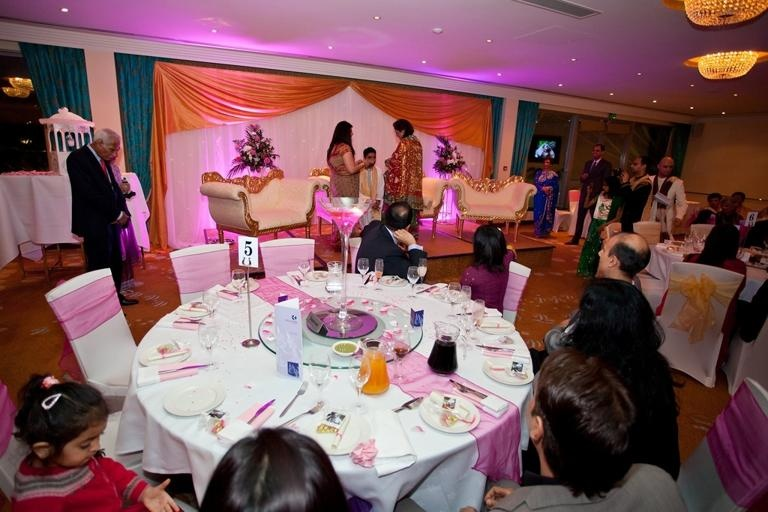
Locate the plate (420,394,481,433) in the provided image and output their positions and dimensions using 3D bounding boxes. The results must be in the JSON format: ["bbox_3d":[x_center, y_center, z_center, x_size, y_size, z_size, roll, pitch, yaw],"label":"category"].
[{"bbox_3d":[0.364,0.893,2.753,0.208,0.038,0.220,11,31,21],"label":"plate"}]

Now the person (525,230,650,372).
[{"bbox_3d":[1.640,0.356,4.028,0.530,1.485,0.839,-17,36,-14],"label":"person"}]

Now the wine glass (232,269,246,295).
[{"bbox_3d":[-1.071,0.203,3.640,0.096,0.253,0.110,-7,16,-27],"label":"wine glass"}]

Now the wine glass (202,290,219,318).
[{"bbox_3d":[-1.167,0.336,3.322,0.103,0.269,0.111,-2,13,-14],"label":"wine glass"}]

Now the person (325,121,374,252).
[{"bbox_3d":[-0.432,-0.964,6.476,0.531,1.549,0.517,-9,17,-28],"label":"person"}]

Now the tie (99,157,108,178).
[{"bbox_3d":[-2.783,-0.882,4.898,0.030,0.033,0.273,-3,53,-45],"label":"tie"}]

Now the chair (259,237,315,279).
[{"bbox_3d":[-0.838,-0.009,4.314,0.411,0.503,0.356,-3,11,-21],"label":"chair"}]

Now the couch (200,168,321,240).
[{"bbox_3d":[-1.549,-0.609,6.470,0.798,0.976,1.480,12,17,32],"label":"couch"}]

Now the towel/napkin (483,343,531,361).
[{"bbox_3d":[0.775,0.617,3.153,0.197,0.037,0.119,2,18,8],"label":"towel/napkin"}]

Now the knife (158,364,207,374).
[{"bbox_3d":[-1.206,0.678,2.932,0.267,0.030,0.044,0,14,-19],"label":"knife"}]

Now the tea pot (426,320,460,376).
[{"bbox_3d":[0.370,0.574,2.981,0.200,0.287,0.299,3,0,-3],"label":"tea pot"}]

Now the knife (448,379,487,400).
[{"bbox_3d":[0.503,0.793,2.883,0.267,0.041,0.071,19,37,17],"label":"knife"}]

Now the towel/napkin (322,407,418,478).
[{"bbox_3d":[-0.089,0.996,2.649,0.319,0.072,0.357,-4,34,-17],"label":"towel/napkin"}]

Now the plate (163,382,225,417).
[{"bbox_3d":[-1.069,0.817,2.797,0.343,0.037,0.343,-9,22,-32],"label":"plate"}]

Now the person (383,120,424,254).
[{"bbox_3d":[0.266,-1.018,6.696,0.568,1.567,0.582,11,14,40],"label":"person"}]

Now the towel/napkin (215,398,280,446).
[{"bbox_3d":[-0.739,0.907,2.688,0.152,0.053,0.251,19,31,24],"label":"towel/napkin"}]

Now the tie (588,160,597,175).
[{"bbox_3d":[3.476,-1.493,8.182,0.081,0.209,0.188,-3,19,-13],"label":"tie"}]

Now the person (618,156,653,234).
[{"bbox_3d":[3.202,-0.798,6.246,0.354,0.878,0.661,10,21,25],"label":"person"}]

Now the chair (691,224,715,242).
[{"bbox_3d":[3.443,-0.238,5.328,0.205,0.271,0.236,8,12,40],"label":"chair"}]

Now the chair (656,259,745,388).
[{"bbox_3d":[2.856,0.446,4.406,0.648,1.174,0.765,14,36,34],"label":"chair"}]

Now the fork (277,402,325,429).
[{"bbox_3d":[-0.456,0.891,2.717,0.244,0.031,0.034,-29,52,-17],"label":"fork"}]

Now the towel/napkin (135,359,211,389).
[{"bbox_3d":[-1.260,0.688,2.914,0.289,0.039,0.158,-1,7,-33],"label":"towel/napkin"}]

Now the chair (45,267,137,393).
[{"bbox_3d":[-2.140,0.572,3.591,0.536,0.909,0.467,16,30,16],"label":"chair"}]

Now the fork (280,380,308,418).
[{"bbox_3d":[-0.491,0.810,2.845,0.053,0.041,0.366,17,33,12],"label":"fork"}]

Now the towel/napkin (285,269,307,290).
[{"bbox_3d":[-0.692,0.188,3.931,0.102,0.045,0.166,-13,31,-16],"label":"towel/napkin"}]

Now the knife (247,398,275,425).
[{"bbox_3d":[-0.677,0.864,2.744,0.044,0.029,0.240,15,30,18],"label":"knife"}]

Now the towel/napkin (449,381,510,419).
[{"bbox_3d":[0.551,0.818,2.865,0.377,0.044,0.124,23,34,38],"label":"towel/napkin"}]

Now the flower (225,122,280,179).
[{"bbox_3d":[-1.951,-1.571,7.475,0.802,0.677,0.794,-12,14,-42],"label":"flower"}]

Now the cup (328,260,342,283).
[{"bbox_3d":[-0.346,0.137,3.800,0.126,0.139,0.129,1,1,0],"label":"cup"}]
